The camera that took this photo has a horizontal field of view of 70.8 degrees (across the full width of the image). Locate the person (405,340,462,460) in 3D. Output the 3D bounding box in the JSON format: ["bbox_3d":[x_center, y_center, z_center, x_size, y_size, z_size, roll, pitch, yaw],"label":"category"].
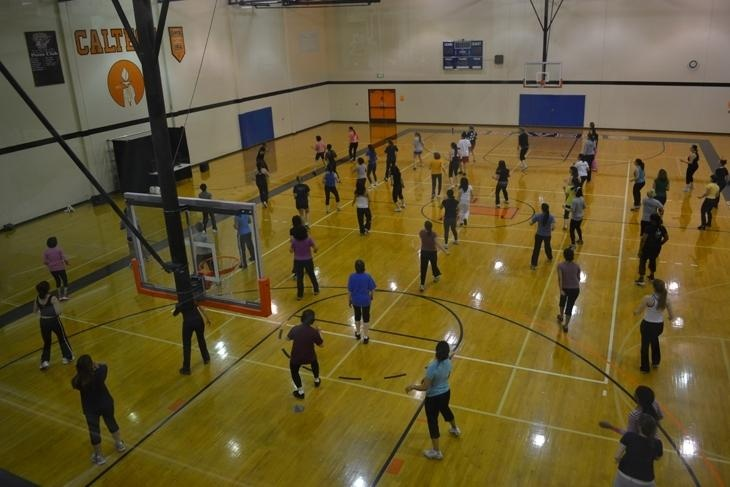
[{"bbox_3d":[1.335,2.570,9.136,0.862,2.222,1.196,7,19,13],"label":"person"}]

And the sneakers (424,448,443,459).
[{"bbox_3d":[1.211,3.680,9.099,0.357,0.180,0.149,6,43,15],"label":"sneakers"}]

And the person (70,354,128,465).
[{"bbox_3d":[-4.718,2.821,9.124,0.668,2.050,0.591,-9,21,-32],"label":"person"}]

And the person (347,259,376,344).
[{"bbox_3d":[-0.090,1.234,11.415,0.545,2.041,0.618,2,18,-2],"label":"person"}]

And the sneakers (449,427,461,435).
[{"bbox_3d":[1.657,3.433,9.456,0.184,0.082,0.112,6,66,25],"label":"sneakers"}]

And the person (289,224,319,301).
[{"bbox_3d":[-1.497,0.404,13.069,0.644,2.068,0.582,-13,27,-21],"label":"person"}]

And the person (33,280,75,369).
[{"bbox_3d":[-6.808,1.627,11.165,0.635,2.110,1.186,-9,21,-31],"label":"person"}]

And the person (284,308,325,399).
[{"bbox_3d":[-1.187,2.070,10.264,0.652,1.925,0.851,1,18,-6],"label":"person"}]

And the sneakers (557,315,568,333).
[{"bbox_3d":[4.590,1.847,11.934,0.118,0.162,0.388,2,45,5],"label":"sneakers"}]

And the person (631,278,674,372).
[{"bbox_3d":[5.953,1.646,10.548,0.683,2.083,0.705,-1,22,12],"label":"person"}]

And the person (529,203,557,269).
[{"bbox_3d":[4.828,-0.289,13.969,0.687,1.856,0.703,-8,27,-5],"label":"person"}]
